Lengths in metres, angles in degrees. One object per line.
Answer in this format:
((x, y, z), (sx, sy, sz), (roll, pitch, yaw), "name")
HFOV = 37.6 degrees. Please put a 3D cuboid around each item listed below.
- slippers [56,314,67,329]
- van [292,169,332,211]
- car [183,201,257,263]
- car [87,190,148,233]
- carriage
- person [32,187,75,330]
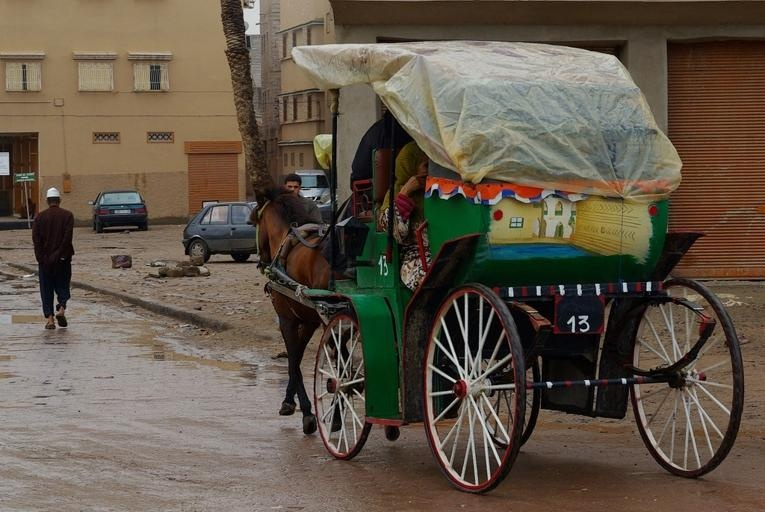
((-5.549, 1.120, 19.528), (0.119, 0.304, 0.128), (0, 49, -2), "slippers")
((-2.909, -2.503, 42.220), (1.756, 1.659, 3.426), (0, -1, 0), "van")
((-4.234, -0.623, 30.915), (3.264, 1.510, 1.810), (-3, 2, 11), "car")
((-10.313, -1.641, 44.036), (1.976, 1.194, 3.192), (-2, 6, -14), "car")
((1.214, 0.028, 11.840), (5.130, 4.555, 2.877), (5, 6, 32), "carriage")
((-5.690, 0.055, 19.583), (0.612, 2.370, 0.700), (-2, 7, -36), "person")
